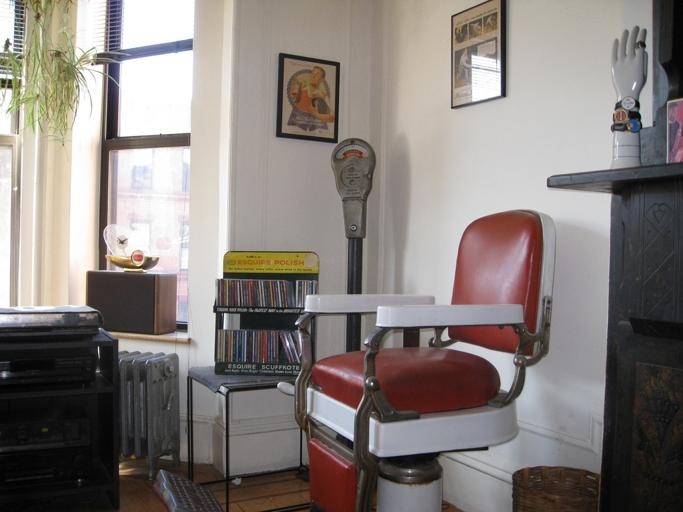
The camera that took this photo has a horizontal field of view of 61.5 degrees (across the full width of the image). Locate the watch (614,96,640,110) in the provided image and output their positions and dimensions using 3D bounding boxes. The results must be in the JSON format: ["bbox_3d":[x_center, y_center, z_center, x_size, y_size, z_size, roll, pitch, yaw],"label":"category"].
[{"bbox_3d":[0.984,-0.521,1.968,0.047,0.021,0.057,4,-16,2],"label":"watch"}]

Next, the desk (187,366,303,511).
[{"bbox_3d":[-0.578,0.888,3.168,0.564,0.836,0.780,1,-1,-21],"label":"desk"}]

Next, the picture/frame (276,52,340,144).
[{"bbox_3d":[-0.222,-0.950,3.450,0.510,0.675,0.022,4,-3,-28],"label":"picture/frame"}]

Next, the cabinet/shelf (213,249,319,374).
[{"bbox_3d":[-0.404,0.305,3.135,0.514,0.668,0.201,2,5,-3],"label":"cabinet/shelf"}]

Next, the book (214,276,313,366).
[{"bbox_3d":[-0.403,0.340,3.007,0.432,0.437,0.177,0,1,-1],"label":"book"}]

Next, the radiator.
[{"bbox_3d":[-1.110,0.913,3.330,0.331,0.669,0.374,-1,3,-17],"label":"radiator"}]
